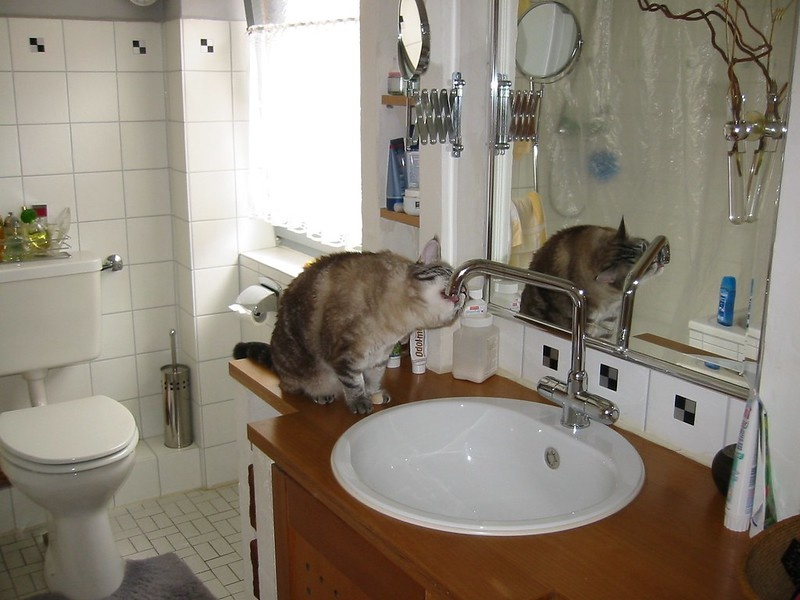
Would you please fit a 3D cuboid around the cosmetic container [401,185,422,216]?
[{"bbox_3d":[0.031,-0.265,1.654,0.057,0.064,0.062,3,16,4],"label":"cosmetic container"}]

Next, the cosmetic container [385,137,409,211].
[{"bbox_3d":[-0.011,-0.347,1.707,0.054,0.193,0.061,-3,15,-9],"label":"cosmetic container"}]

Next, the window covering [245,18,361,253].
[{"bbox_3d":[-0.360,-0.648,2.308,0.110,0.807,0.819,-11,21,-36],"label":"window covering"}]

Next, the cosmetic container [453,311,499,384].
[{"bbox_3d":[0.187,0.121,1.537,0.109,0.187,0.117,15,23,43],"label":"cosmetic container"}]

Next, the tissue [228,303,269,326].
[{"bbox_3d":[-0.557,0.050,2.237,0.117,0.048,0.089,20,7,-10],"label":"tissue"}]

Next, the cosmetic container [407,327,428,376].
[{"bbox_3d":[0.050,0.123,1.612,0.039,0.137,0.035,0,-1,-16],"label":"cosmetic container"}]

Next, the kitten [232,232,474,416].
[{"bbox_3d":[-0.163,0.029,1.555,0.599,0.490,0.253,7,14,13],"label":"kitten"}]
